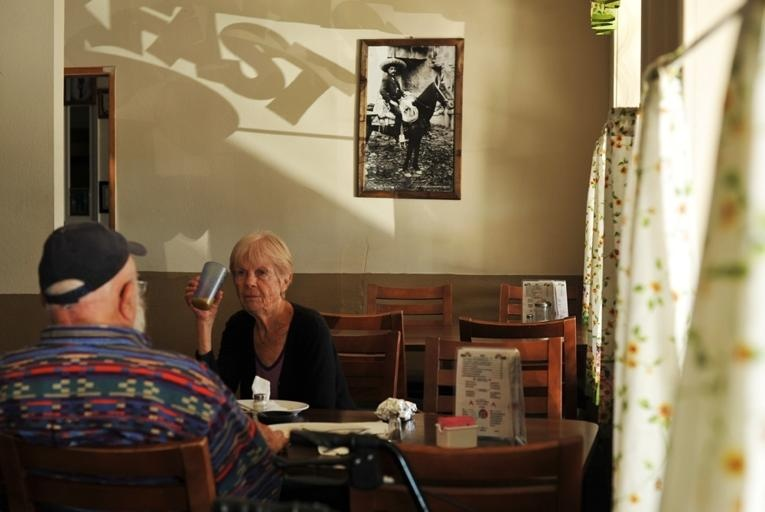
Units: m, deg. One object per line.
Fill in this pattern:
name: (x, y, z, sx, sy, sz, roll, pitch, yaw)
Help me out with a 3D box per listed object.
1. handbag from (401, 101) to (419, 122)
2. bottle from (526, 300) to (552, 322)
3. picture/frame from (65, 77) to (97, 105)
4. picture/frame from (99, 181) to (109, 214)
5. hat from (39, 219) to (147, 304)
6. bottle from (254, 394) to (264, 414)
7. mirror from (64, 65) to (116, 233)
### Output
handbag: (0.196, -1.097, 6.529, 0.117, 0.166, 0.083, -6, 10, 7)
bottle: (0.895, 0.308, 4.959, 0.116, 0.187, 0.112, 2, -2, 0)
picture/frame: (-2.358, -1.302, 6.851, 0.249, 0.263, 0.060, 3, 1, -7)
picture/frame: (-2.175, -0.468, 6.809, 0.048, 0.210, 0.181, 0, 3, -11)
hat: (-0.925, -0.002, 2.749, 0.203, 0.154, 0.292, 28, 46, 33)
bottle: (-0.454, 0.560, 3.273, 0.038, 0.050, 0.054, -2, 9, 0)
mirror: (-2.281, -0.861, 6.802, 0.381, 1.245, 0.128, 0, 0, -14)
